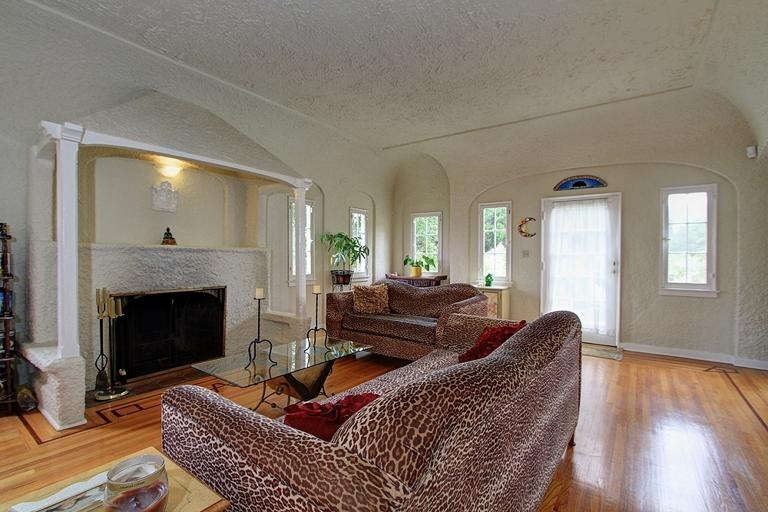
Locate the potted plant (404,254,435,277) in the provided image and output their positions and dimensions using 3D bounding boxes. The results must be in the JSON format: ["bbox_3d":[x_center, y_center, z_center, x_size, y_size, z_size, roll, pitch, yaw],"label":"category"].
[{"bbox_3d":[0.668,0.205,8.636,0.459,0.257,0.462,1,-6,-5],"label":"potted plant"}]

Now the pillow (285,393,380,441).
[{"bbox_3d":[-0.428,1.011,3.060,0.392,0.130,0.388,-7,-5,36],"label":"pillow"}]

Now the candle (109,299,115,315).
[{"bbox_3d":[-2.851,0.531,4.726,0.085,0.178,0.032,-1,-1,9],"label":"candle"}]

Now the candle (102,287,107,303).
[{"bbox_3d":[-2.947,0.414,4.768,0.047,0.124,0.098,0,-1,-31],"label":"candle"}]

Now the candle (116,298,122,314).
[{"bbox_3d":[-2.798,0.533,4.758,0.045,0.166,0.125,0,-1,-23],"label":"candle"}]

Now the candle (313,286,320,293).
[{"bbox_3d":[-0.907,0.443,6.034,0.092,0.113,0.122,-1,-1,18],"label":"candle"}]

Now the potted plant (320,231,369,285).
[{"bbox_3d":[-0.783,0.083,8.040,0.892,1.008,0.949,-1,-1,15],"label":"potted plant"}]

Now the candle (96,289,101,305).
[{"bbox_3d":[-2.995,0.426,4.742,0.041,0.157,0.145,0,-1,-34],"label":"candle"}]

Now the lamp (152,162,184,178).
[{"bbox_3d":[-2.680,-1.051,5.654,0.108,0.164,0.361,-2,-2,45],"label":"lamp"}]
